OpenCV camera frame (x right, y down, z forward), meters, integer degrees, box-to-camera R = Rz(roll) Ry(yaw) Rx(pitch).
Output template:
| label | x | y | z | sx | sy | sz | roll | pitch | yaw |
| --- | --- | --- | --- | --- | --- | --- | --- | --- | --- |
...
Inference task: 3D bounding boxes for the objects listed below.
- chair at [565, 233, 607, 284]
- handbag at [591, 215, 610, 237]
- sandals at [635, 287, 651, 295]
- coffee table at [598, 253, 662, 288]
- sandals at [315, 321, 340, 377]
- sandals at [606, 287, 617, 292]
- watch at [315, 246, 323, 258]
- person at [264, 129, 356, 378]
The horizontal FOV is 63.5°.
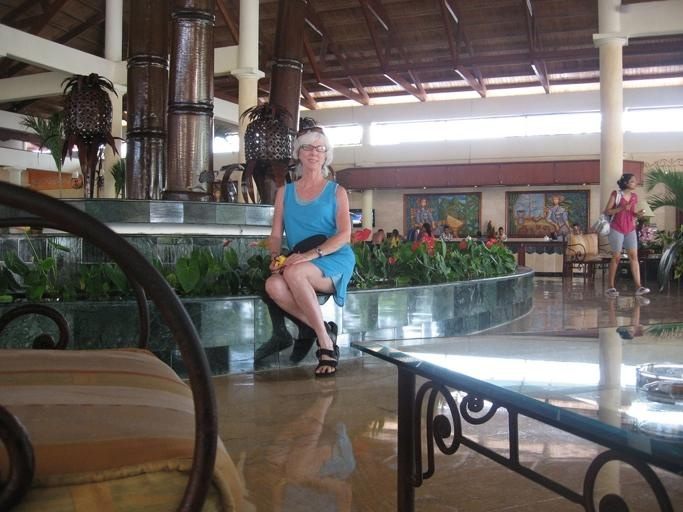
| label | x | y | z | sx | sy | sz | roll | pitch | yaw |
| --- | --- | --- | --- | --- | --- | --- | --- | --- | --- |
| chair | 4.445 | 0.026 | 9.783 | 1.324 | 0.837 | 0.433 | -4 | 5 | -44 |
| handbag | 2.882 | -0.328 | 6.080 | 0.178 | 0.327 | 0.330 | 10 | 6 | 32 |
| sandals | 3.695 | 0.433 | 6.764 | 0.204 | 0.098 | 0.073 | -13 | 12 | -38 |
| coffee table | 5.153 | 0.360 | 10.134 | 0.923 | 0.618 | 0.628 | 4 | -24 | 18 |
| sandals | -0.073 | 0.458 | 2.671 | 0.084 | 0.275 | 0.070 | -9 | -13 | 29 |
| sandals | 3.223 | 0.409 | 6.554 | 0.075 | 0.066 | 0.146 | -3 | 4 | -43 |
| watch | -0.115 | -0.015 | 2.676 | 0.031 | 0.049 | 0.046 | -24 | -12 | -24 |
| person | -0.158 | -0.049 | 2.763 | 0.436 | 1.232 | 0.378 | 0 | 1 | 0 |
